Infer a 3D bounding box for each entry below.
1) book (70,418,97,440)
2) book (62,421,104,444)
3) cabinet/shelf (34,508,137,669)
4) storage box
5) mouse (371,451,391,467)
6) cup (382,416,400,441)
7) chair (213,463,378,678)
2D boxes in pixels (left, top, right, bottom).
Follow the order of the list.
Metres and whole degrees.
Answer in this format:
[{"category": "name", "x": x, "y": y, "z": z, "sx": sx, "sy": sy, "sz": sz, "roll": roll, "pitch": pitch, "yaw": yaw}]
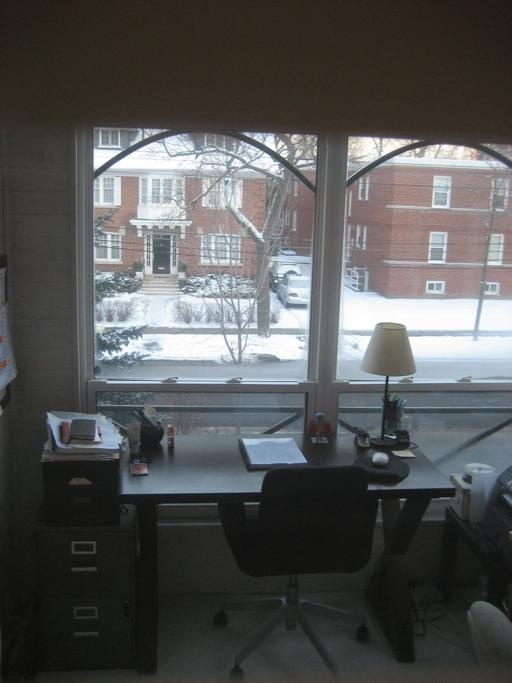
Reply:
[{"category": "book", "x": -0.581, "y": 0.292, "z": 2.042, "sx": 0.057, "sy": 0.021, "sz": 0.084, "roll": 3, "pitch": 19, "yaw": -10}, {"category": "book", "x": -0.589, "y": 0.302, "z": 2.024, "sx": 0.088, "sy": 0.020, "sz": 0.088, "roll": 2, "pitch": 22, "yaw": -21}, {"category": "cabinet/shelf", "x": -0.550, "y": 0.852, "z": 2.222, "sx": 0.437, "sy": 0.598, "sz": 0.465, "roll": 0, "pitch": 4, "yaw": -4}, {"category": "storage box", "x": -0.559, "y": 0.461, "z": 2.100, "sx": 0.277, "sy": 0.250, "sz": 0.260, "roll": 2, "pitch": 20, "yaw": -5}, {"category": "mouse", "x": 0.457, "y": 0.428, "z": 2.217, "sx": 0.051, "sy": 0.039, "sz": 0.050, "roll": 2, "pitch": -4, "yaw": -27}, {"category": "cup", "x": 0.549, "y": 0.354, "z": 2.463, "sx": 0.086, "sy": 0.085, "sz": 0.093, "roll": 0, "pitch": 6, "yaw": 0}, {"category": "chair", "x": 0.146, "y": 0.733, "z": 2.079, "sx": 0.575, "sy": 0.805, "sz": 0.413, "roll": 4, "pitch": 11, "yaw": 1}]
